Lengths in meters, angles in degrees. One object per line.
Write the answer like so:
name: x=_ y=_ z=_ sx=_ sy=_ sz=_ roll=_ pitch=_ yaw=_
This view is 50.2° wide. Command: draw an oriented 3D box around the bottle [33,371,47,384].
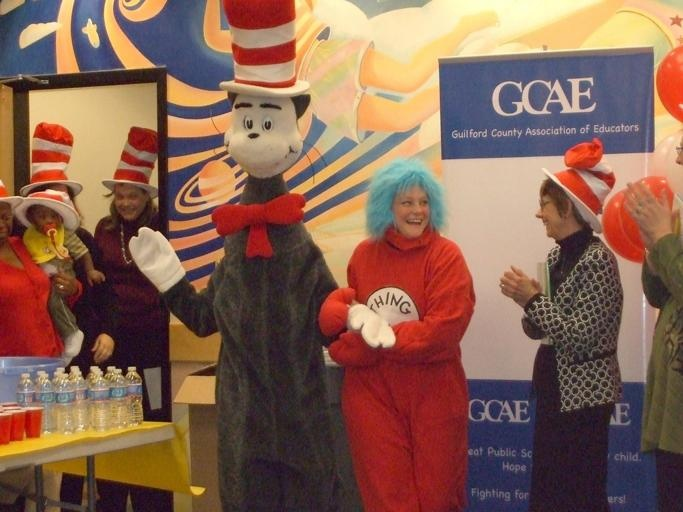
bottle: x=-1.463 y=0.595 z=3.550 sx=0.060 sy=0.069 sz=0.064 roll=4 pitch=-13 yaw=-21

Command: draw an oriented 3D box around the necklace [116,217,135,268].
necklace: x=-1.430 y=-0.080 z=4.826 sx=0.109 sy=0.233 sz=0.043 roll=-5 pitch=-6 yaw=29

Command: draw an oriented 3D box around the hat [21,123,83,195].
hat: x=-1.825 y=-0.615 z=4.644 sx=0.354 sy=0.452 sz=0.346 roll=-12 pitch=-11 yaw=42

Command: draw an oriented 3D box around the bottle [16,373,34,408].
bottle: x=-1.545 y=0.652 z=3.572 sx=0.077 sy=0.154 sz=0.172 roll=2 pitch=-6 yaw=-25

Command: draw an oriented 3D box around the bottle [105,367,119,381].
bottle: x=-1.156 y=0.587 z=3.637 sx=0.066 sy=0.079 sz=0.074 roll=2 pitch=-19 yaw=-2

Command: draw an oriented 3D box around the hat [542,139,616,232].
hat: x=1.246 y=-0.417 z=3.657 sx=0.434 sy=0.314 sz=0.520 roll=11 pitch=9 yaw=22

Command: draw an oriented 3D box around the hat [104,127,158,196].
hat: x=-1.396 y=-0.669 z=4.918 sx=0.327 sy=0.410 sz=0.322 roll=12 pitch=9 yaw=-14

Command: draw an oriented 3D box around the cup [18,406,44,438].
cup: x=-1.429 y=0.771 z=3.382 sx=0.098 sy=0.150 sz=0.115 roll=-1 pitch=-4 yaw=5
